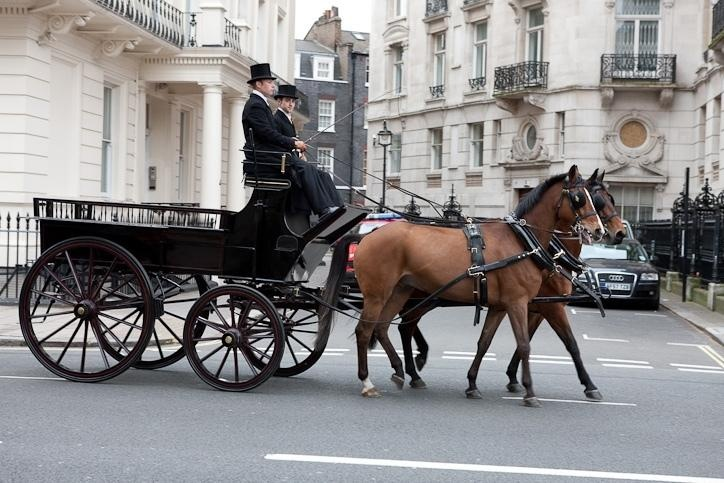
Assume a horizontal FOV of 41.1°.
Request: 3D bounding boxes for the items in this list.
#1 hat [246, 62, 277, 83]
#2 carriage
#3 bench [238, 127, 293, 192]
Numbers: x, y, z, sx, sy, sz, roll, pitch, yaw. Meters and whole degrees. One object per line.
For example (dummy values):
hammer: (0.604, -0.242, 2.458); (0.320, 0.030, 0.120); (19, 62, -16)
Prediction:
hat: (-1.600, -2.652, 15.331); (0.553, 0.229, 0.515); (-4, 5, -8)
carriage: (-0.576, 0.609, 15.666); (12.068, 3.997, 3.537); (0, 0, 8)
bench: (-1.514, -1.189, 14.959); (1.060, 1.086, 0.874); (0, 1, 2)
